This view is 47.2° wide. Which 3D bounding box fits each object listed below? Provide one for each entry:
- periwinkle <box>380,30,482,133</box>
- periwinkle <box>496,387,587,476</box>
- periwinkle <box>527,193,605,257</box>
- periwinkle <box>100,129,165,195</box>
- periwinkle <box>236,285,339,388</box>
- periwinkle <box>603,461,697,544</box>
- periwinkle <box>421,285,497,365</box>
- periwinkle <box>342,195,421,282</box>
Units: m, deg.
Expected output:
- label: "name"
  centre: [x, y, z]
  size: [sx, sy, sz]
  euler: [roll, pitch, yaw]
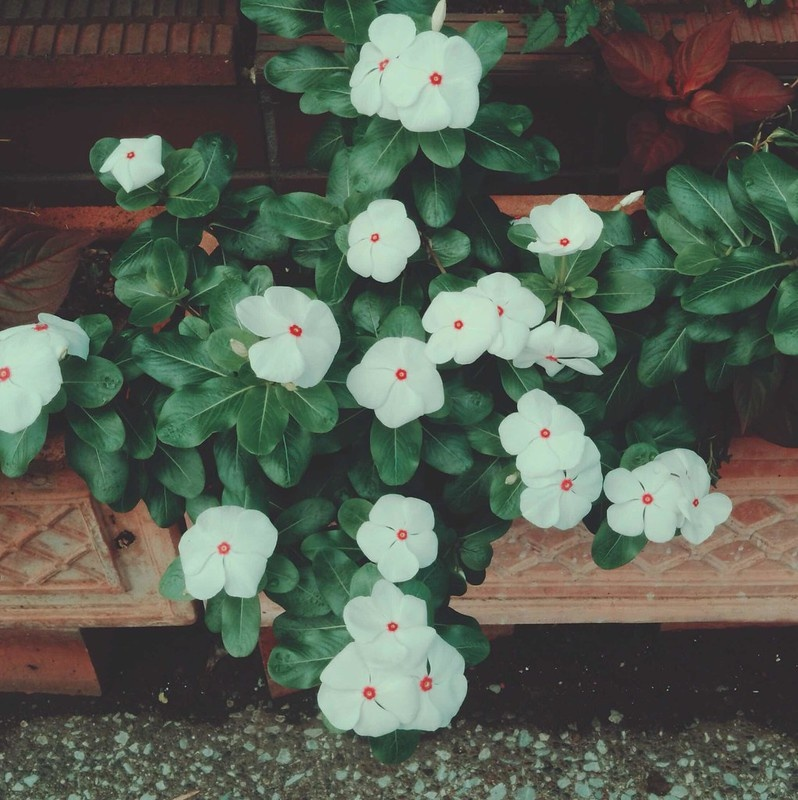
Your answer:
- label: "periwinkle"
  centre: [0.072, -0.679, 1.953]
  size: [0.202, 0.189, 0.117]
  euler: [0, 41, 1]
- label: "periwinkle"
  centre: [0.339, 0.078, 2.133]
  size: [0.197, 0.176, 0.140]
  euler: [-4, 40, -3]
- label: "periwinkle"
  centre: [0.374, -0.392, 2.055]
  size: [0.156, 0.112, 0.110]
  euler: [3, 39, 6]
- label: "periwinkle"
  centre: [-0.641, -0.573, 2.216]
  size: [0.156, 0.106, 0.117]
  euler: [-10, 39, -11]
- label: "periwinkle"
  centre: [-0.225, -0.130, 1.958]
  size: [0.205, 0.214, 0.136]
  euler: [-10, 41, -11]
- label: "periwinkle"
  centre: [0.593, 0.247, 2.222]
  size: [0.190, 0.166, 0.133]
  euler: [2, 40, 4]
- label: "periwinkle"
  centre: [0.137, -0.161, 2.039]
  size: [0.161, 0.132, 0.119]
  euler: [0, 39, 1]
- label: "periwinkle"
  centre: [-0.036, -0.363, 2.068]
  size: [0.161, 0.154, 0.147]
  euler: [-3, 39, -2]
